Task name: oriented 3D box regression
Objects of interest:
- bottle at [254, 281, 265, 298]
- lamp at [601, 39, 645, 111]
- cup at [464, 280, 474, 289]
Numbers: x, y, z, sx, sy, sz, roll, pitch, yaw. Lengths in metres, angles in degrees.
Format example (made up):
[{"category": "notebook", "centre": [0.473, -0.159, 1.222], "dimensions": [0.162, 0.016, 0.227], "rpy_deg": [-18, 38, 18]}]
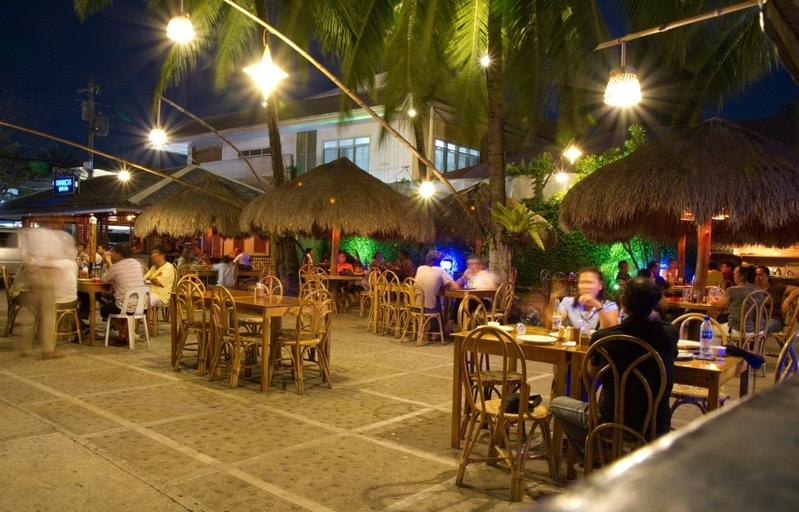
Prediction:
[{"category": "bottle", "centre": [-2.402, 0.595, 10.248], "dimensions": [0.203, 0.299, 0.304], "rpy_deg": [0, -1, -28]}, {"category": "lamp", "centre": [3.532, -2.901, 9.032], "dimensions": [0.527, 0.954, 1.090], "rpy_deg": [5, 10, 19]}, {"category": "cup", "centre": [1.639, 0.644, 13.421], "dimensions": [0.184, 0.191, 0.340], "rpy_deg": [0, -5, 2]}]
